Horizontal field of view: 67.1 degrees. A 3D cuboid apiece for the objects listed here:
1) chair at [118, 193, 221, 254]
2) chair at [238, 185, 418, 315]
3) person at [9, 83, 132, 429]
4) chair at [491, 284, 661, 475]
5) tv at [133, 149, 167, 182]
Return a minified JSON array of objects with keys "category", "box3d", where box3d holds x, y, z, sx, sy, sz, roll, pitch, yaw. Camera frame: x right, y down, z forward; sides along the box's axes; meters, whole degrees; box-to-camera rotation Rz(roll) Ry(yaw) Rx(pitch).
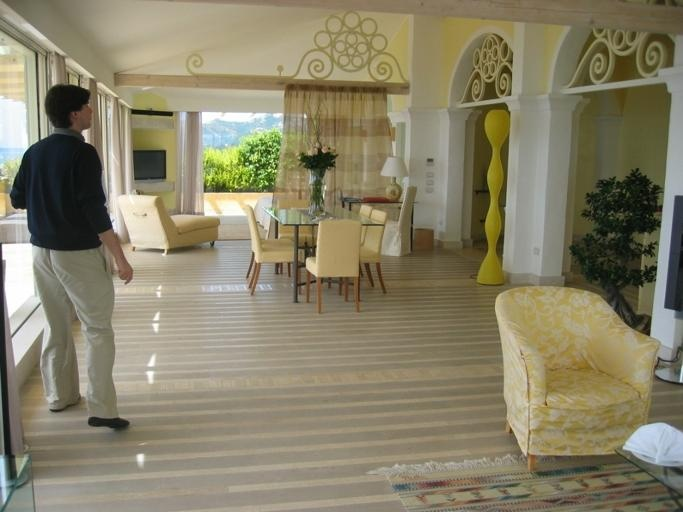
[{"category":"chair","box3d":[-3.130,-0.622,9.479,0.925,0.983,1.623,5,9,25]},{"category":"chair","box3d":[-0.283,-0.210,7.121,2.017,1.171,2.554,6,13,20]},{"category":"person","box3d":[-1.713,0.177,3.399,0.727,1.910,0.430,12,16,39]},{"category":"chair","box3d":[1.405,0.736,3.534,0.977,1.151,1.103,-1,1,-8]},{"category":"tv","box3d":[-4.899,-2.321,13.123,0.160,0.833,1.197,12,16,33]}]
